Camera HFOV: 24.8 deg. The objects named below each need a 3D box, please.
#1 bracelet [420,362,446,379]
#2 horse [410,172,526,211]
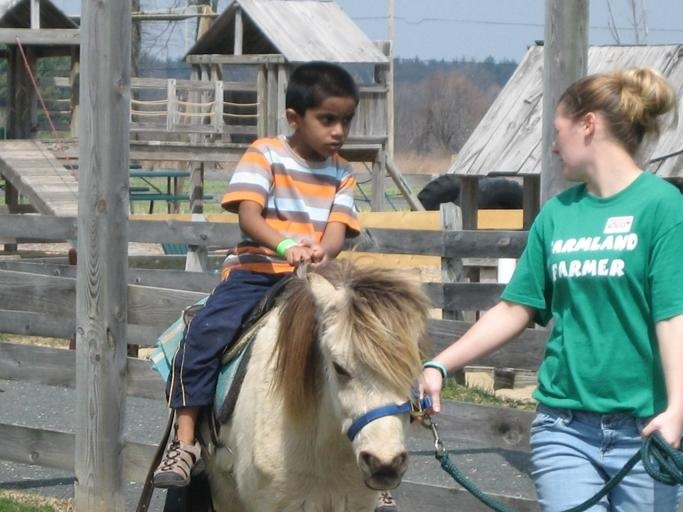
[{"bbox_3d":[0.693,0.902,12.008,0.133,0.040,0.136,33,2,11],"label":"bracelet"},{"bbox_3d":[1.955,-0.973,23.618,1.149,0.367,1.118,1,-2,-37],"label":"horse"}]
